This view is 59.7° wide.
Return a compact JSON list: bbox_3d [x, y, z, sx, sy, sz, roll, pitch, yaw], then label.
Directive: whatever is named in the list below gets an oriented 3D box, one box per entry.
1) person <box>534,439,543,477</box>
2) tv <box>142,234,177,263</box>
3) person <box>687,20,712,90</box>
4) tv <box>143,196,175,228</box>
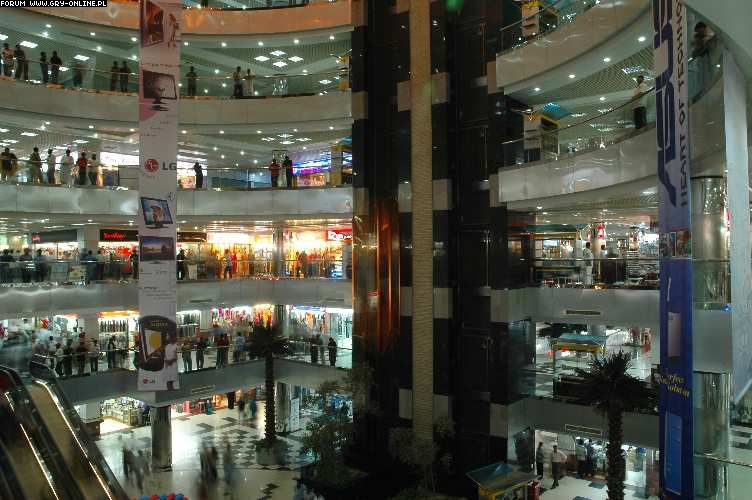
[{"bbox_3d":[6.644,8.498,26.812,0.335,1.561,1.005,-1,4,15],"label":"person"},{"bbox_3d":[-6.586,-0.071,19.815,0.863,0.583,0.242,0,3,-8],"label":"tv"},{"bbox_3d":[9.063,-5.306,18.045,0.760,1.860,0.623,-4,8,-24],"label":"person"},{"bbox_3d":[-6.615,-1.148,19.884,0.966,0.936,0.310,0,-9,-38],"label":"tv"}]
